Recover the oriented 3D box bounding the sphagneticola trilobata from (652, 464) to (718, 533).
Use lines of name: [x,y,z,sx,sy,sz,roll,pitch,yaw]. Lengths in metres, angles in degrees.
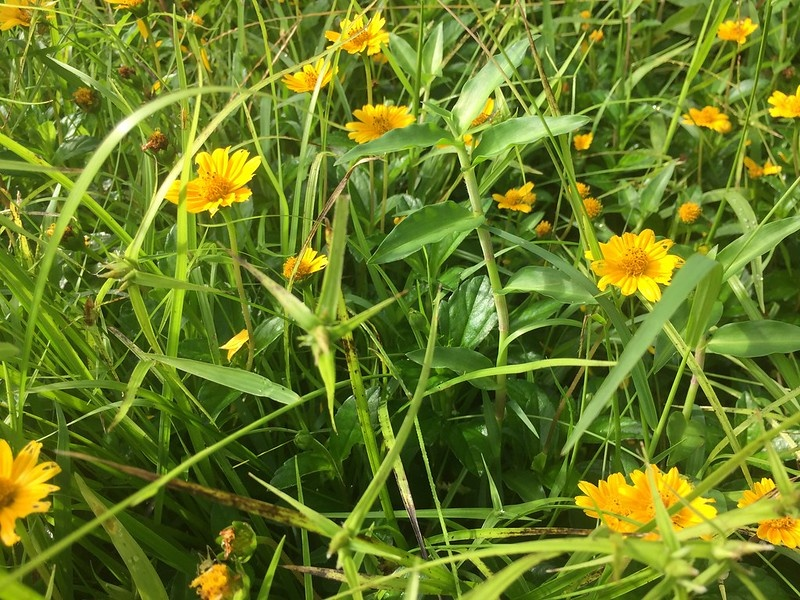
sphagneticola trilobata: [0.428,0.315,1.111,0.029,0.098,0.089,-6,56,-30]
